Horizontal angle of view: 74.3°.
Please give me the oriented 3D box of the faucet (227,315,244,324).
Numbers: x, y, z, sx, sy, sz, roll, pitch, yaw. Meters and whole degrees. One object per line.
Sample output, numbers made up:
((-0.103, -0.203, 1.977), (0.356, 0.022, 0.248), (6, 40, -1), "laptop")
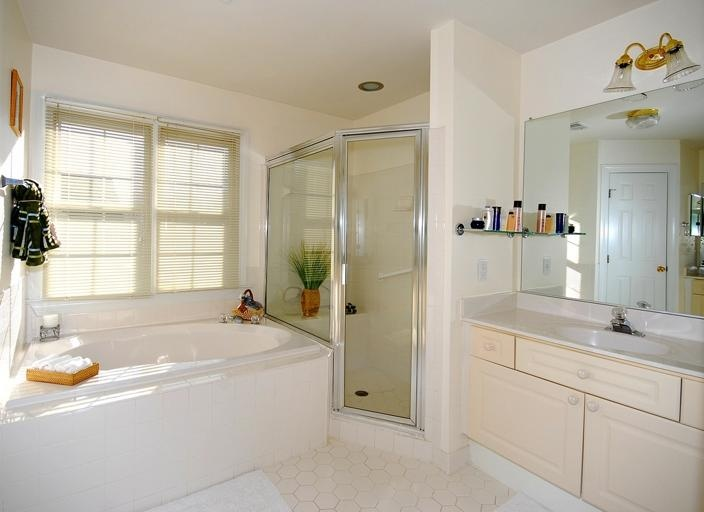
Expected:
((-1.053, 0.571, 4.177), (0.182, 0.103, 0.061), (0, -7, 21), "faucet")

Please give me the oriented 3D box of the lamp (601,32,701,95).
((1.871, -1.215, 2.896), (0.495, 0.363, 0.365), (9, 13, 32), "lamp")

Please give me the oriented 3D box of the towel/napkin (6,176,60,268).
((-2.150, -0.219, 3.155), (0.295, 0.600, 0.331), (-8, 15, -42), "towel/napkin")

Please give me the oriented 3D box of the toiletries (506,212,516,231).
((1.141, -0.251, 3.342), (0.059, 0.139, 0.083), (5, 11, 15), "toiletries")

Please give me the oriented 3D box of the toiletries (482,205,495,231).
((0.956, -0.267, 3.259), (0.072, 0.155, 0.170), (5, 11, 13), "toiletries")

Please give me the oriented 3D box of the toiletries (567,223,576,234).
((1.572, -0.198, 3.348), (0.051, 0.093, 0.053), (0, -4, 14), "toiletries")

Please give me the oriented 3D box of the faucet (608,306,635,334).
((1.755, 0.416, 3.027), (0.076, 0.142, 0.161), (-3, 1, -43), "faucet")

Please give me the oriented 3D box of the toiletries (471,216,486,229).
((0.866, -0.232, 3.216), (0.083, 0.067, 0.086), (-1, 0, 1), "toiletries")
